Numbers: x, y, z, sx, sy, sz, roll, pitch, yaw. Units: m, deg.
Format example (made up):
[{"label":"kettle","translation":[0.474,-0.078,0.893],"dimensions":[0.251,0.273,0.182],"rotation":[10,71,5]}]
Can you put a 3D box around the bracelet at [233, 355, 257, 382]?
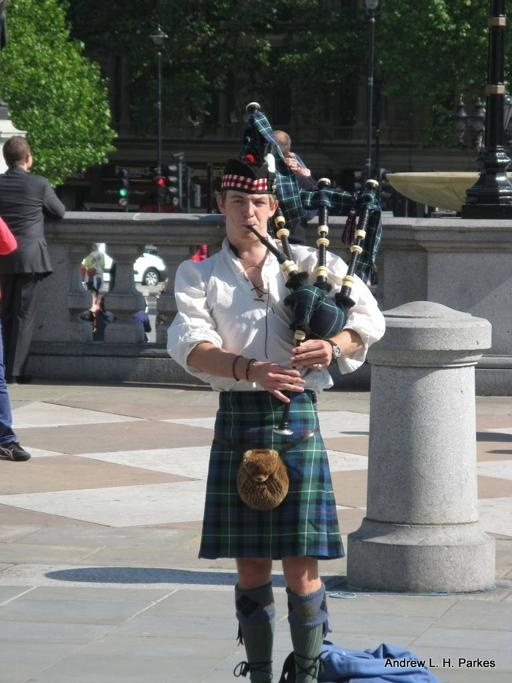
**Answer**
[{"label":"bracelet","translation":[-0.047,0.083,4.913],"dimensions":[0.069,0.079,0.039],"rotation":[-3,-36,4]}]

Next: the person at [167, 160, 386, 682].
[{"label":"person","translation":[0.075,0.269,5.159],"dimensions":[0.589,1.765,0.653],"rotation":[-7,11,-41]}]

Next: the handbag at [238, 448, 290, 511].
[{"label":"handbag","translation":[0.036,0.456,4.928],"dimensions":[0.169,0.198,0.203],"rotation":[-1,9,-1]}]
